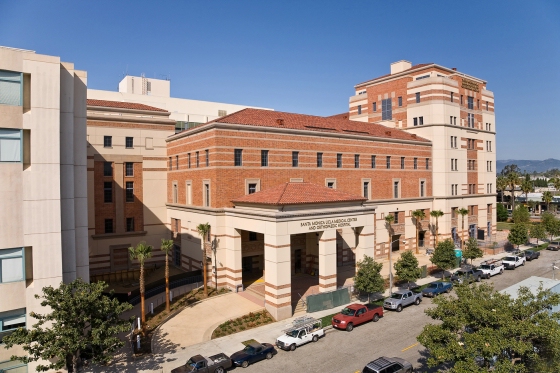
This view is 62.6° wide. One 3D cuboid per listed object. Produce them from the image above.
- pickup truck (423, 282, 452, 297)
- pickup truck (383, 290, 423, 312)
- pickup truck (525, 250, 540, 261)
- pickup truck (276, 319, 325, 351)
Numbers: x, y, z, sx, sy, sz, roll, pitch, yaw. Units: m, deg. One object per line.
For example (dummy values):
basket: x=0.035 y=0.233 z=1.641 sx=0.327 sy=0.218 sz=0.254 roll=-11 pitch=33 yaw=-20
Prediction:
pickup truck: x=19.153 y=12.632 z=56.682 sx=4.157 sy=1.664 sz=2.003 roll=1 pitch=-3 yaw=-44
pickup truck: x=14.283 y=13.212 z=53.803 sx=4.746 sy=2.051 sz=1.533 roll=1 pitch=-2 yaw=-33
pickup truck: x=39.674 y=10.788 z=72.368 sx=2.805 sy=0.847 sz=1.364 roll=1 pitch=-5 yaw=-35
pickup truck: x=1.850 y=14.885 z=46.412 sx=4.284 sy=1.524 sz=2.378 roll=3 pitch=-8 yaw=-34
